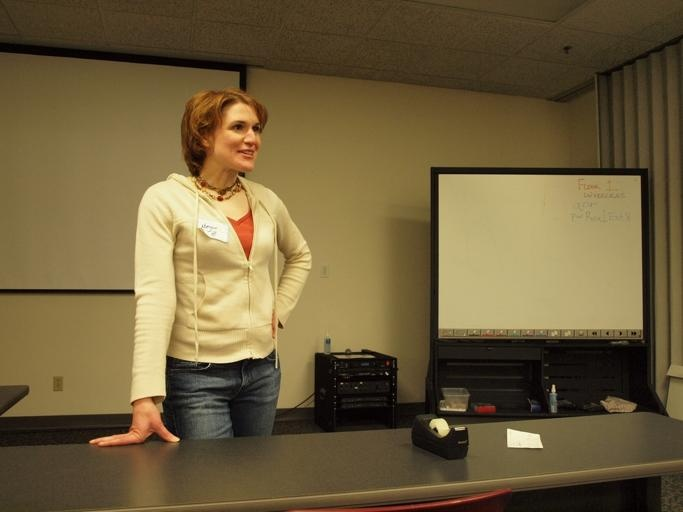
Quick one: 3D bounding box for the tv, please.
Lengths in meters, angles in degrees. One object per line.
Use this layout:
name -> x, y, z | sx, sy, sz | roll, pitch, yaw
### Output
tv -> 1.619, 0.064, 4.431 | 1.303, 1.053, 0.055 | 1, -5, -5

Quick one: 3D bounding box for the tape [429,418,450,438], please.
tape -> 0.333, 0.582, 1.896 | 0.068, 0.070, 0.044 | -4, -2, 26

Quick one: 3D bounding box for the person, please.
person -> -0.487, 0.036, 2.115 | 0.473, 1.316, 0.856 | 4, 12, 18

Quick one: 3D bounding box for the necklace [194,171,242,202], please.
necklace -> -0.494, -0.261, 2.196 | 0.128, 0.041, 0.115 | 15, 17, 10

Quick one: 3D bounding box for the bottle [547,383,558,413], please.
bottle -> 1.636, 1.101, 4.322 | 0.078, 0.181, 0.310 | 5, 12, 20
